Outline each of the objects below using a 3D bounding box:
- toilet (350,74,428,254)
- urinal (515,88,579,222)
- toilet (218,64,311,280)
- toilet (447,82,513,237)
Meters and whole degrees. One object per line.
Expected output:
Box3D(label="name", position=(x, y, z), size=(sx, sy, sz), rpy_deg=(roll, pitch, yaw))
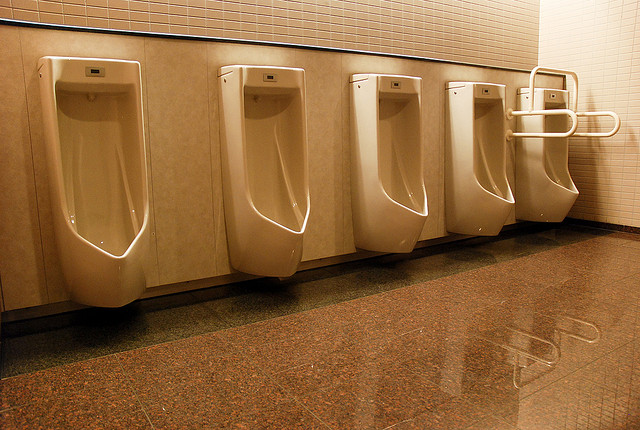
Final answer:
Box3D(label="toilet", position=(0.549, -0.373, 3.687), size=(0.606, 1.488, 0.587), rpy_deg=(0, 17, 1))
Box3D(label="urinal", position=(2.356, -0.649, 4.744), size=(0.679, 1.338, 0.576), rpy_deg=(7, 18, 40))
Box3D(label="toilet", position=(-0.389, -0.263, 3.197), size=(0.623, 1.509, 0.579), rpy_deg=(-2, 17, -5))
Box3D(label="toilet", position=(1.469, -0.529, 4.241), size=(0.622, 1.373, 0.699), rpy_deg=(3, 17, 12))
